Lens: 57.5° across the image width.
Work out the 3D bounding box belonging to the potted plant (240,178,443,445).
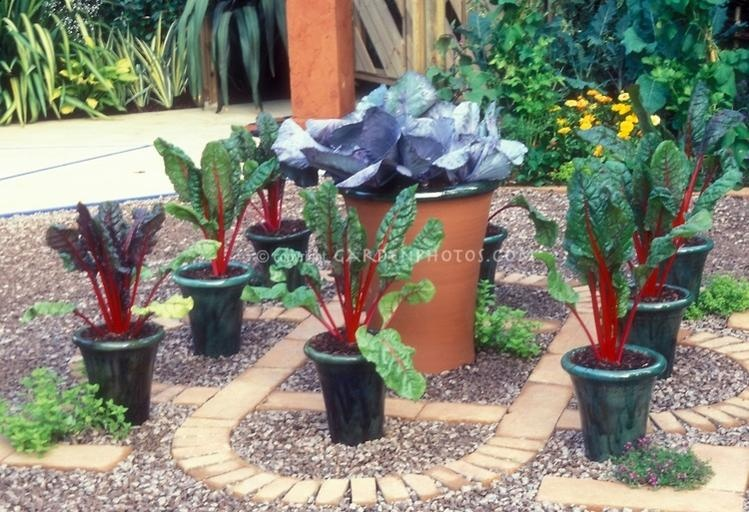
[{"bbox_3d":[-0.148,0.280,2.990,0.982,1.071,0.807,-1,7,39],"label":"potted plant"}]

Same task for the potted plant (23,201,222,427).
[{"bbox_3d":[-1.208,0.311,3.216,0.782,1.045,0.973,-9,-10,13],"label":"potted plant"}]

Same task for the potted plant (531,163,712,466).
[{"bbox_3d":[0.998,0.183,2.871,0.529,1.150,0.676,12,25,30],"label":"potted plant"}]

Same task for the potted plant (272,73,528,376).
[{"bbox_3d":[0.215,-0.148,3.772,1.360,1.495,1.324,-3,8,-3],"label":"potted plant"}]
